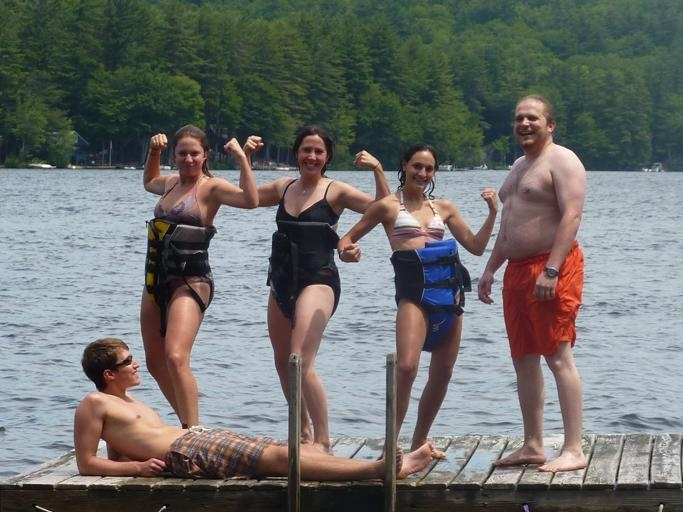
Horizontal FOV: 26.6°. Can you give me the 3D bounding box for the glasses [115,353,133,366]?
[{"bbox_3d":[-3.451,1.664,22.993,0.206,0.053,0.190,-22,-1,5],"label":"glasses"}]
